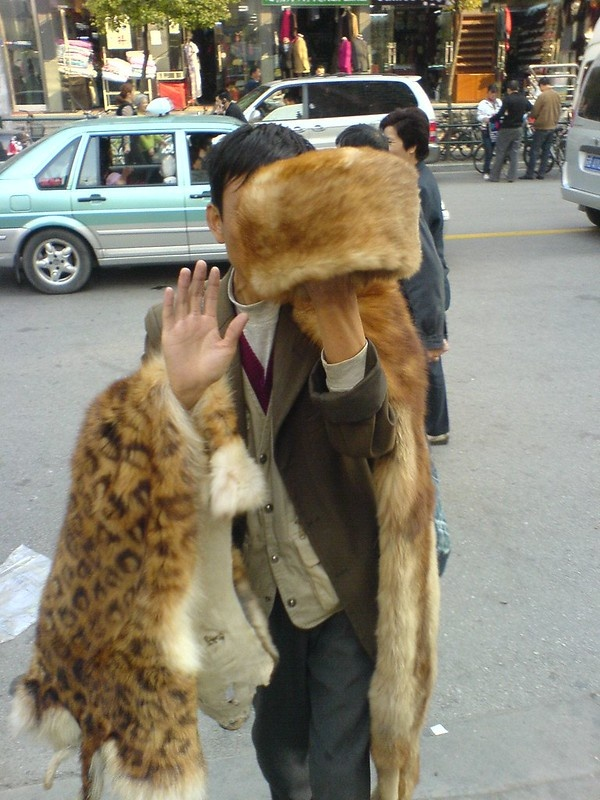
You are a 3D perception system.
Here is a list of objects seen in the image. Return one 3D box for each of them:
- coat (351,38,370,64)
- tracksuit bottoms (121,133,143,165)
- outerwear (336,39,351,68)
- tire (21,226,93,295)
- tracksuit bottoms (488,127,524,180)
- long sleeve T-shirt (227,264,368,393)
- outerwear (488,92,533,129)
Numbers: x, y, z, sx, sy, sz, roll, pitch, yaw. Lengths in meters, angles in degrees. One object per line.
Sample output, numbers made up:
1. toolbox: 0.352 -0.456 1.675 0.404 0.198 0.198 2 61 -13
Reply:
1. coat: 1.611 -9.514 18.591 0.508 0.785 0.221 -12 13 -13
2. tracksuit bottoms: -1.977 -2.986 7.986 0.230 0.363 0.238 7 23 25
3. outerwear: 1.242 -9.444 18.534 0.367 0.841 0.487 0 24 3
4. tire: -2.878 -1.663 8.220 0.881 0.786 0.282 5 11 9
5. tracksuit bottoms: 4.576 -5.491 15.131 0.603 1.131 0.918 6 24 15
6. long sleeve T-shirt: 0.019 -0.137 1.198 0.263 0.210 0.187 -7 17 -11
7. outerwear: 4.538 -6.202 14.501 0.673 0.718 0.947 5 23 12
